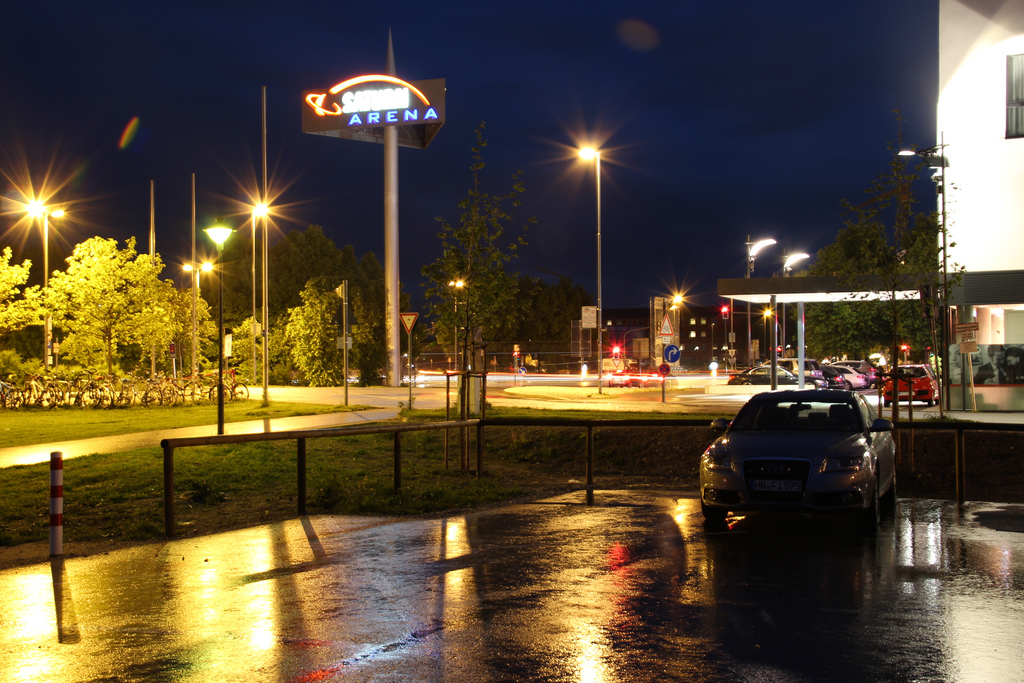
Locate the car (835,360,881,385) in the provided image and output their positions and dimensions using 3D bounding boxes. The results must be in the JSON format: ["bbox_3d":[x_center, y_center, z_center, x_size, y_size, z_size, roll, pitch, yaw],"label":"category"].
[{"bbox_3d":[18.576,1.705,56.694,2.190,0.829,1.073,4,3,42],"label":"car"}]

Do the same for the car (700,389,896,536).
[{"bbox_3d":[4.586,1.788,16.508,3.092,2.083,2.150,2,-5,-42],"label":"car"}]

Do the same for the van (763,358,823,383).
[{"bbox_3d":[14.907,1.680,55.137,2.541,1.349,1.496,2,1,11],"label":"van"}]

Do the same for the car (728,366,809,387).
[{"bbox_3d":[12.491,1.932,52.961,2.649,0.889,1.212,-3,-1,13],"label":"car"}]

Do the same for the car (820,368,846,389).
[{"bbox_3d":[16.902,1.827,55.179,1.223,1.173,3.080,-3,-4,16],"label":"car"}]

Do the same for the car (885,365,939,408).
[{"bbox_3d":[16.492,2.393,43.715,2.041,2.041,4.063,-1,-18,21],"label":"car"}]
